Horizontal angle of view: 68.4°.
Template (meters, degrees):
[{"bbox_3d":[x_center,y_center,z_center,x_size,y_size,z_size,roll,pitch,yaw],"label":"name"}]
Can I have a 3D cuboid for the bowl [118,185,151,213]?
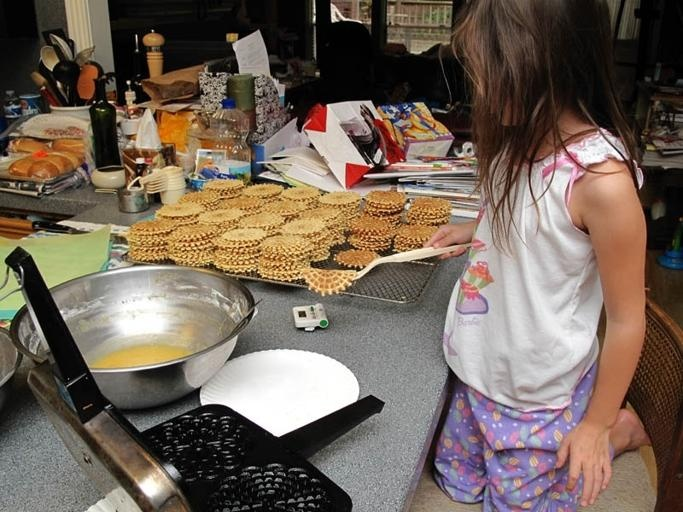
[{"bbox_3d":[-0.669,-0.177,1.653,0.091,0.064,0.089,1,29,0],"label":"bowl"}]

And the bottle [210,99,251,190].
[{"bbox_3d":[-0.394,-0.427,1.802,0.138,0.257,0.349,-7,25,-9],"label":"bottle"}]

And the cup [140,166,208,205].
[{"bbox_3d":[-0.581,-0.242,1.738,0.192,0.138,0.159,-9,23,-16],"label":"cup"}]

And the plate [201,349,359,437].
[{"bbox_3d":[-0.099,0.231,0.887,0.250,0.038,0.192,9,26,24],"label":"plate"}]

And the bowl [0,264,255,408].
[{"bbox_3d":[-0.353,0.142,0.904,0.389,0.176,0.314,-10,25,-16],"label":"bowl"}]

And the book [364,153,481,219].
[{"bbox_3d":[0.320,-0.265,1.779,0.308,0.086,0.293,6,21,20],"label":"book"}]

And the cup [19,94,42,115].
[{"bbox_3d":[-1.494,-0.730,2.447,0.112,0.113,0.112,3,14,-1],"label":"cup"}]

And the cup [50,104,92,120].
[{"bbox_3d":[-1.138,-0.603,2.103,0.147,0.057,0.104,-12,26,-20],"label":"cup"}]

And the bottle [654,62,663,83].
[{"bbox_3d":[1.736,-1.010,2.739,0.035,0.097,0.046,11,29,27],"label":"bottle"}]
